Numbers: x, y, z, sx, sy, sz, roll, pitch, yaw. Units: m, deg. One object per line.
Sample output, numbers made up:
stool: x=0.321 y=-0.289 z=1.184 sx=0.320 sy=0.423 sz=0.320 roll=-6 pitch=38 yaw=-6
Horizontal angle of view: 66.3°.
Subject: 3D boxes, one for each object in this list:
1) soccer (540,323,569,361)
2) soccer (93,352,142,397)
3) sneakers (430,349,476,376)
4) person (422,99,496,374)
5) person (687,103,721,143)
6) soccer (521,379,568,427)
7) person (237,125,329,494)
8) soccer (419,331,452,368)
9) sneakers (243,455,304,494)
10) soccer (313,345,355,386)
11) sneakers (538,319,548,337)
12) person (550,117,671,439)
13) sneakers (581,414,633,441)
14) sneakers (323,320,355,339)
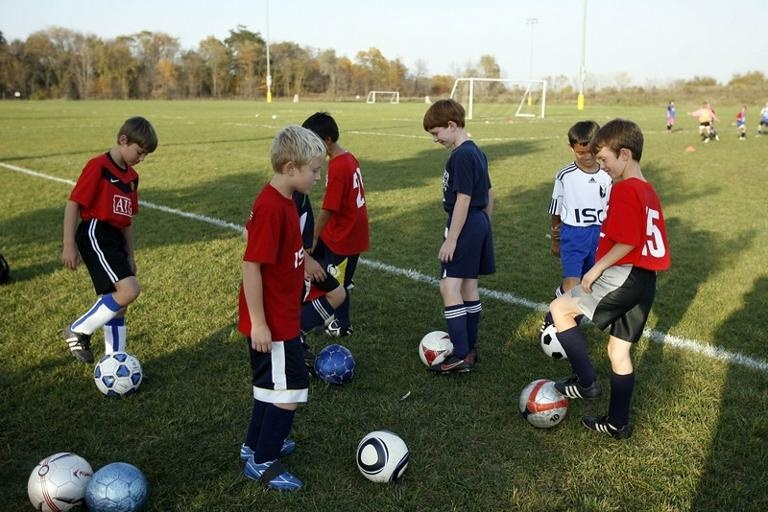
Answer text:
soccer: x=1.574 y=0.814 z=5.667 sx=0.291 sy=0.363 sz=0.299 roll=3 pitch=9 yaw=7
soccer: x=-2.309 y=1.034 z=5.149 sx=0.445 sy=0.360 sz=0.399 roll=2 pitch=45 yaw=-28
sneakers: x=0.660 y=1.025 z=5.546 sx=0.441 sy=0.231 sz=0.165 roll=1 pitch=2 yaw=-4
person: x=0.722 y=-0.180 z=5.427 sx=0.630 sy=2.412 sz=0.746 roll=-1 pitch=18 yaw=4
person: x=11.283 y=-4.712 z=20.551 sx=0.809 sy=1.428 sz=2.457 roll=8 pitch=21 yaw=29
soccer: x=1.342 y=1.307 z=5.046 sx=0.432 sy=0.468 sz=0.455 roll=1 pitch=46 yaw=12
person: x=-0.786 y=0.386 z=4.416 sx=0.552 sy=2.571 sz=0.847 roll=5 pitch=19 yaw=22
soccer: x=0.480 y=0.849 z=5.523 sx=0.310 sy=0.261 sz=0.251 roll=-30 pitch=10 yaw=-31
sneakers: x=-0.829 y=1.648 z=4.507 sx=0.441 sy=0.197 sz=0.194 roll=15 pitch=1 yaw=9
soccer: x=-0.419 y=0.954 z=5.443 sx=0.369 sy=0.345 sz=0.343 roll=6 pitch=25 yaw=29
sneakers: x=1.564 y=0.704 z=5.706 sx=0.107 sy=0.157 sz=0.070 roll=9 pitch=2 yaw=34
person: x=1.841 y=0.184 z=4.746 sx=0.709 sy=2.455 sz=0.671 roll=-17 pitch=23 yaw=-40
sneakers: x=1.806 y=1.384 z=4.831 sx=0.406 sy=0.171 sz=0.154 roll=20 pitch=-3 yaw=30
sneakers: x=-0.465 y=0.743 z=6.044 sx=0.233 sy=0.181 sz=0.112 roll=5 pitch=22 yaw=15
